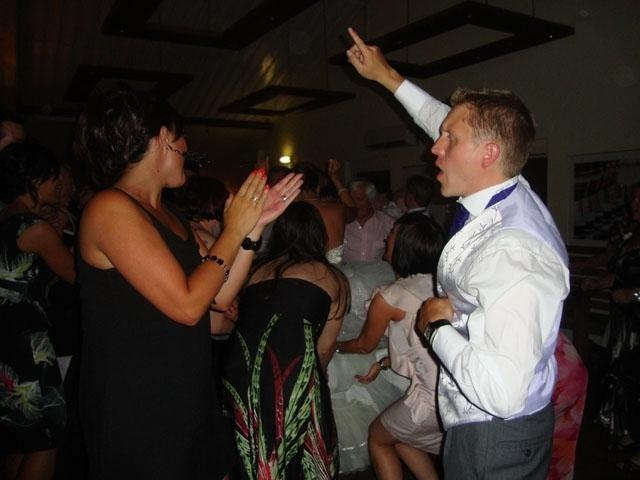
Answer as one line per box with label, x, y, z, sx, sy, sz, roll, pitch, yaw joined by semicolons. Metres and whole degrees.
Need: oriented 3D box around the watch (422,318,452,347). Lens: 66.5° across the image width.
watch;0.437;0.369;1.867;0.040;0.110;0.104;24;25;23
